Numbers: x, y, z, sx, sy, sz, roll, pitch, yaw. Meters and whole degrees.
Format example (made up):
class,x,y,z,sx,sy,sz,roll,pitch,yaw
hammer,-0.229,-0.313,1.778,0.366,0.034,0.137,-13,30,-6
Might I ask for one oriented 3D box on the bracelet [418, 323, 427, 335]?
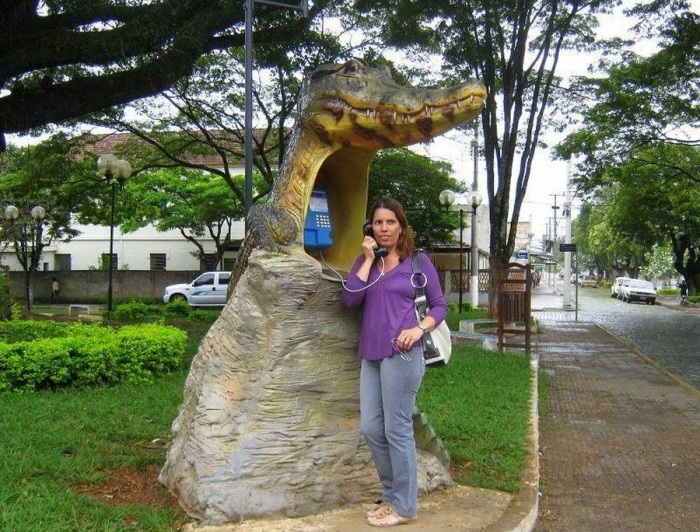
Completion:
class,x,y,z,sx,sy,sz,roll,pitch,yaw
bracelet,0.624,0.549,5.044,0.057,0.091,0.085,-21,-30,-35

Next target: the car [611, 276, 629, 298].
class,x,y,z,sx,sy,sz,roll,pitch,yaw
car,21.342,1.800,45.300,1.405,1.720,2.743,1,5,17

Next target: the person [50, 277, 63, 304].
class,x,y,z,sx,sy,sz,roll,pitch,yaw
person,-16.226,1.293,32.001,0.471,1.248,1.792,2,-2,-28

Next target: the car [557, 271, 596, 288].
class,x,y,z,sx,sy,sz,roll,pitch,yaw
car,26.360,1.609,66.876,1.526,1.155,2.797,0,8,-24

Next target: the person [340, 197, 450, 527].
class,x,y,z,sx,sy,sz,roll,pitch,yaw
person,0.390,0.821,5.162,0.872,2.897,0.428,1,-1,8

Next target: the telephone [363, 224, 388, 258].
class,x,y,z,sx,sy,sz,roll,pitch,yaw
telephone,0.221,-0.229,5.252,0.129,0.477,0.122,-6,40,3

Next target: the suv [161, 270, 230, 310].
class,x,y,z,sx,sy,sz,roll,pitch,yaw
suv,-6.635,1.076,24.848,2.306,1.282,1.409,3,-4,-1

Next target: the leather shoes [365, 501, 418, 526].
class,x,y,z,sx,sy,sz,roll,pitch,yaw
leather shoes,0.322,2.211,5.093,0.268,0.119,0.203,5,-5,-4

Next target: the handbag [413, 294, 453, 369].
class,x,y,z,sx,sy,sz,roll,pitch,yaw
handbag,0.768,0.574,5.138,0.399,0.657,0.189,2,-2,-33
